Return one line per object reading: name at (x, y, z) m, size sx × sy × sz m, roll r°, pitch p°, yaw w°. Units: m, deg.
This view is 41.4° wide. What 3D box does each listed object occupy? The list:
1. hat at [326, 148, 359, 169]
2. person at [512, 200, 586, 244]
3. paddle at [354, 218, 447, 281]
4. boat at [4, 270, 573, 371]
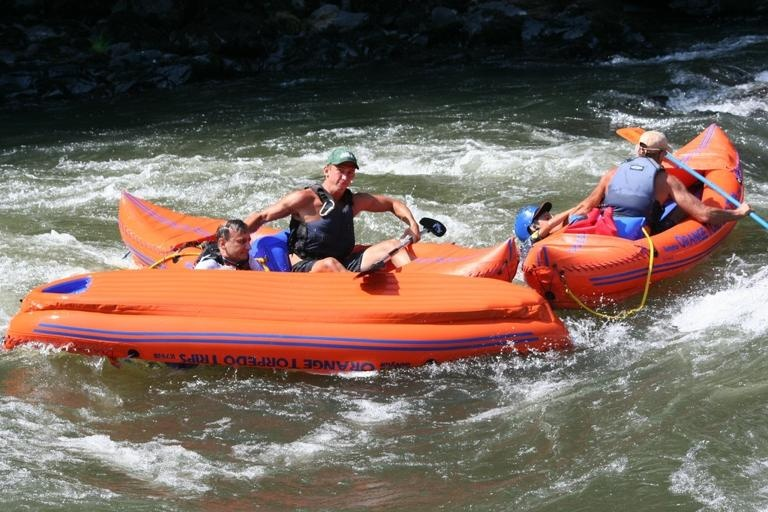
hat at (-0.485, -1.113, 11.496) m, size 0.366 × 0.170 × 0.421 m, roll 5°, pitch 5°, yaw -16°
person at (1.944, -0.411, 12.354) m, size 0.805 × 0.355 × 0.414 m, roll -25°, pitch 12°, yaw 17°
paddle at (0.267, -0.116, 11.122) m, size 1.291 × 0.126 × 0.483 m, roll -32°, pitch 43°, yaw -33°
boat at (-1.037, 0.585, 11.216) m, size 6.719 × 0.804 × 1.673 m, roll 0°, pitch 19°, yaw 0°
